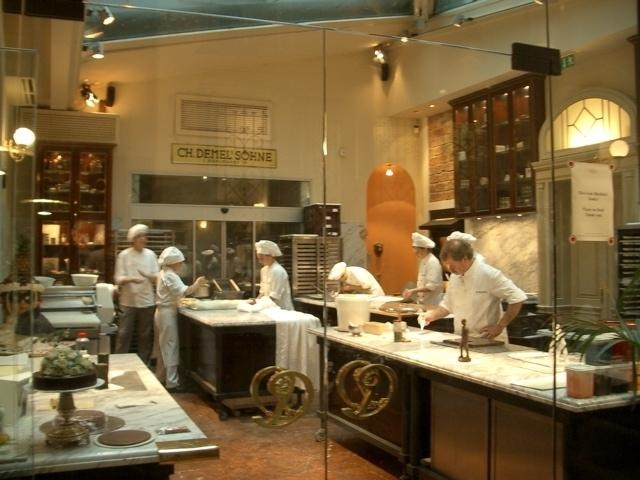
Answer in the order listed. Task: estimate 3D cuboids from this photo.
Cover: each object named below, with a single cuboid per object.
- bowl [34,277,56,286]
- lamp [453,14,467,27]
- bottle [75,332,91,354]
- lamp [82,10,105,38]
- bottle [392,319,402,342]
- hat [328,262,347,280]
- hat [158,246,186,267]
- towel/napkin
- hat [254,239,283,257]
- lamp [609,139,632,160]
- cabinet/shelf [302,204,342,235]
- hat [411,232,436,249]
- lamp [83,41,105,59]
[{"bbox_3d":[-1.114,0.166,2.285,0.057,0.027,0.044,-16,-13,26],"label":"bowl"},{"bbox_3d":[0.729,-1.141,2.956,0.087,0.057,0.033,0,0,-35],"label":"lamp"},{"bbox_3d":[-0.969,0.416,2.304,0.048,0.071,0.046,0,0,0],"label":"bottle"},{"bbox_3d":[-0.974,-0.926,2.434,0.113,0.107,0.047,2,-3,0],"label":"lamp"},{"bbox_3d":[0.419,0.484,3.020,0.053,0.130,0.098,0,0,9],"label":"bottle"},{"bbox_3d":[0.083,0.144,2.679,0.076,0.092,0.030,31,0,2],"label":"hat"},{"bbox_3d":[-0.630,0.070,2.392,0.117,0.070,0.077,-24,29,-13],"label":"hat"},{"bbox_3d":[-0.110,0.485,2.654,0.429,0.350,0.319,2,-1,-6],"label":"towel/napkin"},{"bbox_3d":[-0.232,0.036,2.508,0.105,0.041,0.071,3,-3,-13],"label":"hat"},{"bbox_3d":[1.727,-0.512,3.290,0.147,0.094,0.123,6,-5,-42],"label":"lamp"},{"bbox_3d":[0.007,-0.098,2.654,0.181,0.131,0.163,0,0,-21],"label":"cabinet/shelf"},{"bbox_3d":[0.509,0.008,2.775,0.061,0.086,0.089,-20,35,-24],"label":"hat"},{"bbox_3d":[-0.965,-0.799,2.412,0.117,0.079,0.068,-2,5,-21],"label":"lamp"}]
